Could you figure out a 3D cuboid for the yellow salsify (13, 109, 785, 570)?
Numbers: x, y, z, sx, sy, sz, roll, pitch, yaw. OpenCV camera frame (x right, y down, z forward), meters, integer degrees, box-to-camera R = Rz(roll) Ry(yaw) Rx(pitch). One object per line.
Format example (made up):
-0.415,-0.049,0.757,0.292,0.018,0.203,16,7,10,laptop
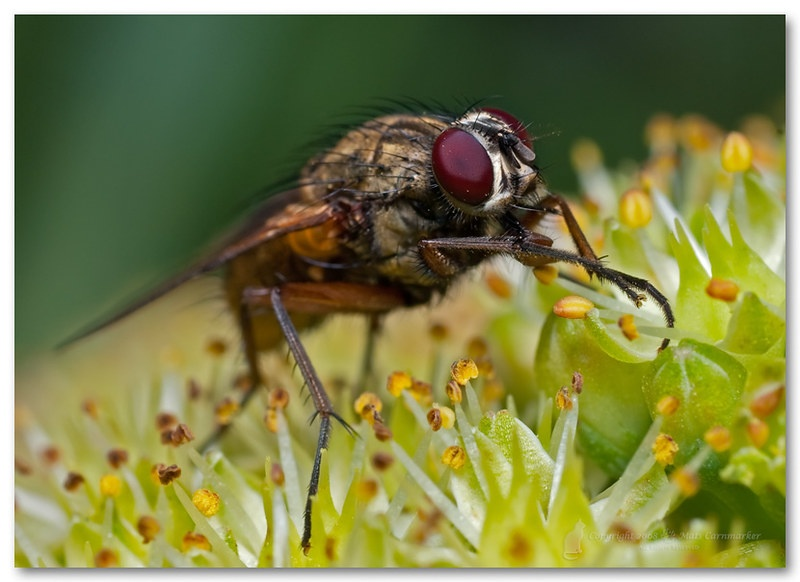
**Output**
0.004,0.185,2.740,2.256,1.533,0.806,3,1,-14,yellow salsify
